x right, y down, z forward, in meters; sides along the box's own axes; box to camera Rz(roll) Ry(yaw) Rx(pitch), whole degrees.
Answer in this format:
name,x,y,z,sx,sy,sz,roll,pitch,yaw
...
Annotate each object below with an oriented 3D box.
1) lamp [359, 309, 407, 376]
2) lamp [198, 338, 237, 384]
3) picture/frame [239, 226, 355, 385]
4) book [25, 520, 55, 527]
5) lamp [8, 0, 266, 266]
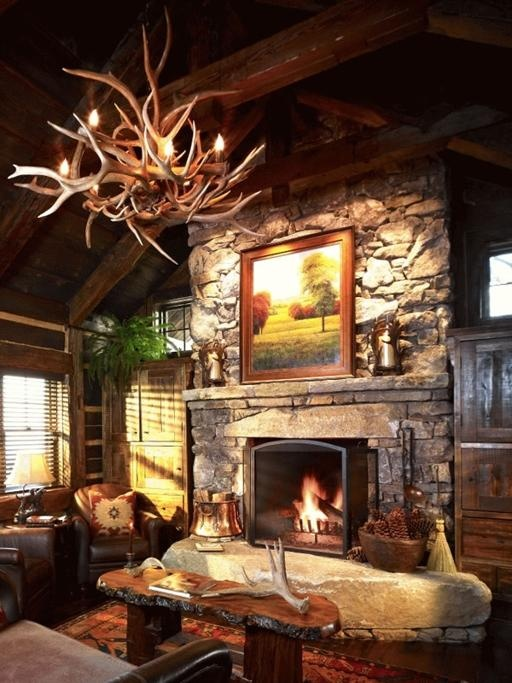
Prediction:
name,x,y,z,sx,sy,sz,roll,pitch,yaw
lamp,0.865,0.027,3.860,0.188,0.432,0.303,0,-5,-16
lamp,-0.409,0.186,4.701,0.125,0.400,0.301,4,-7,-44
picture/frame,0.315,-0.263,4.245,1.328,1.315,0.060,-6,-11,35
book,-1.691,1.451,4.299,0.093,0.020,0.088,1,-3,0
lamp,-0.550,-0.891,2.622,1.137,0.925,0.360,20,-31,24
